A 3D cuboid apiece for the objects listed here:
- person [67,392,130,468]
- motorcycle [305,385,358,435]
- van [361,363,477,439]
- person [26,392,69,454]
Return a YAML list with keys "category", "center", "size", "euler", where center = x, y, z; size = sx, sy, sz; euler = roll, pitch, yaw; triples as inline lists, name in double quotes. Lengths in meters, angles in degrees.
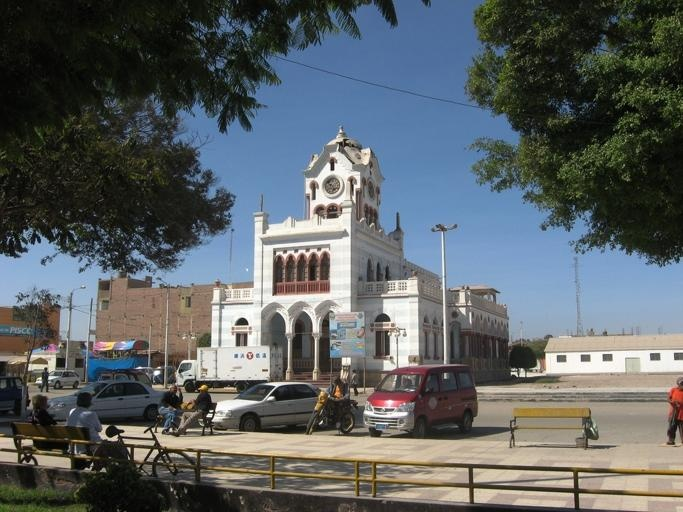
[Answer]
- category: "person"
  center: [-5.880, 4.139, 17.196]
  size: [0.667, 1.902, 1.229]
  euler: [0, 3, 12]
- category: "motorcycle"
  center: [-0.331, 5.258, 24.551]
  size: [1.584, 1.371, 0.860]
  euler: [2, -9, -4]
- category: "van"
  center: [2.550, 4.743, 24.282]
  size: [2.342, 2.249, 4.301]
  euler: [-5, -9, 38]
- category: "person"
  center: [-6.970, 3.899, 17.329]
  size: [0.824, 1.549, 0.763]
  euler: [-2, -7, -29]
